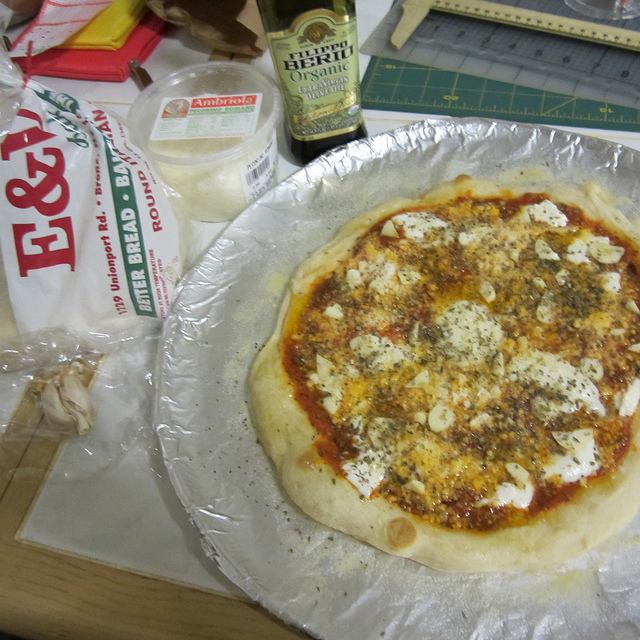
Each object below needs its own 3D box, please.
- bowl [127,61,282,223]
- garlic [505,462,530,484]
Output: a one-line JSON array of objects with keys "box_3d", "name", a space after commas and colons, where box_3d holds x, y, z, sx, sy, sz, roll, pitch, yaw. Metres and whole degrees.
[{"box_3d": [-0.329, -0.589, 2.091, 0.518, 0.290, 0.451, 13, 61, 14], "name": "bowl"}, {"box_3d": [0.492, 0.385, 1.571, 0.033, 0.009, 0.058, -41, 64, -17], "name": "garlic"}]
